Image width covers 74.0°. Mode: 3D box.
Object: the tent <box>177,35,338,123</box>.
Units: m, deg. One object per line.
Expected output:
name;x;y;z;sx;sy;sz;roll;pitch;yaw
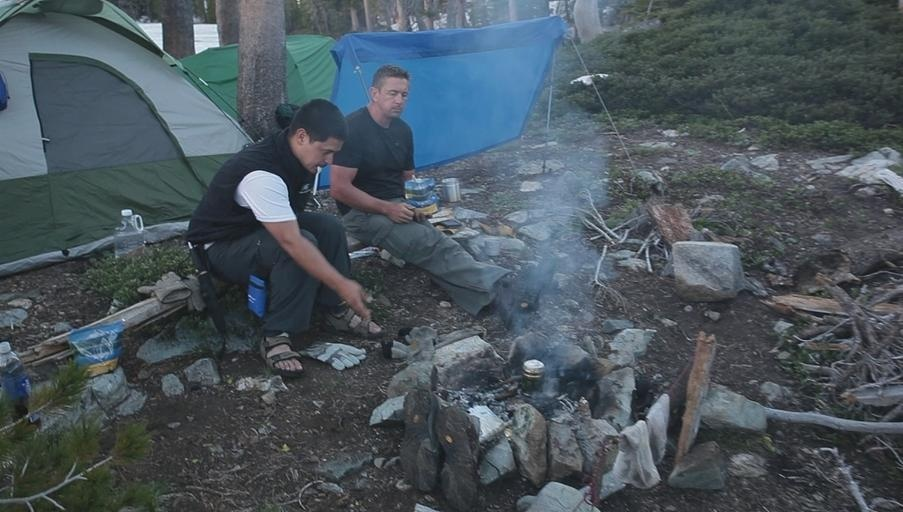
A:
tent;-2.934;-3.013;9.541;2.321;0.719;1.806;-16;37;-25

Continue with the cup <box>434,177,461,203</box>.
cup;-0.054;-1.017;8.892;0.400;0.363;0.384;-1;26;0

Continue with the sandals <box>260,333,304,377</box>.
sandals;-1.746;1.027;6.174;0.289;0.229;0.580;-12;26;-31
